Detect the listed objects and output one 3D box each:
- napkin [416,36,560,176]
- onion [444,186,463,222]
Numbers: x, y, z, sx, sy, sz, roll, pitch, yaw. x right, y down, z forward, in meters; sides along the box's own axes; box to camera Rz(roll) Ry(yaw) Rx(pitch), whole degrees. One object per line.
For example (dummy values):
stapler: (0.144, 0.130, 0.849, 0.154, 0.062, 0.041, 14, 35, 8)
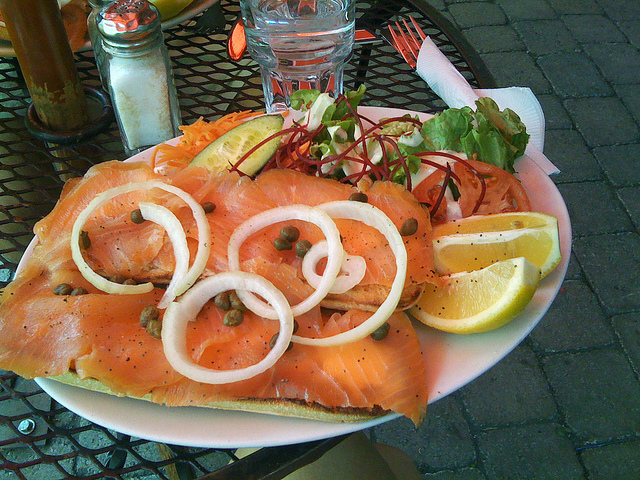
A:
napkin: (0.513, -0.451, 2.107, 0.525, 0.425, 0.529, 1, 26, 3)
onion: (0.402, -0.105, 1.840, 0.069, 0.025, 0.093, -3, 77, 13)
